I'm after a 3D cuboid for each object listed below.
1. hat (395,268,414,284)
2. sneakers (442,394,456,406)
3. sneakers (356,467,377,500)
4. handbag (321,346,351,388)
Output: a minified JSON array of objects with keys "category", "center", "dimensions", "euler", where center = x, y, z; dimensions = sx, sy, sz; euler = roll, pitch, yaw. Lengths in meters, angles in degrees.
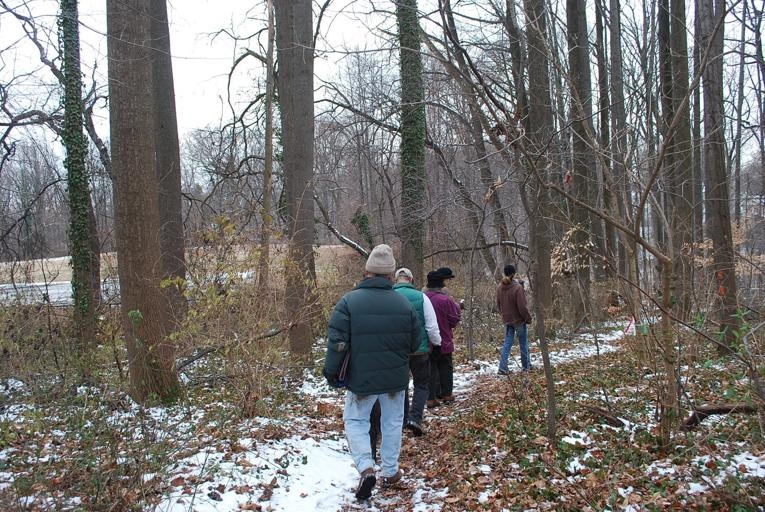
[{"category":"hat","center":[0.409,0.429,12.416],"dimensions":[0.209,0.340,0.324],"euler":[3,28,9]},{"category":"sneakers","center":[1.404,3.014,13.424],"dimensions":[0.130,0.296,0.289],"euler":[-1,17,26]},{"category":"sneakers","center":[-0.261,3.684,10.320],"dimensions":[0.242,0.591,0.247],"euler":[12,10,-9]},{"category":"handbag","center":[-0.738,1.834,10.400],"dimensions":[0.218,0.610,0.424],"euler":[9,-5,-31]}]
